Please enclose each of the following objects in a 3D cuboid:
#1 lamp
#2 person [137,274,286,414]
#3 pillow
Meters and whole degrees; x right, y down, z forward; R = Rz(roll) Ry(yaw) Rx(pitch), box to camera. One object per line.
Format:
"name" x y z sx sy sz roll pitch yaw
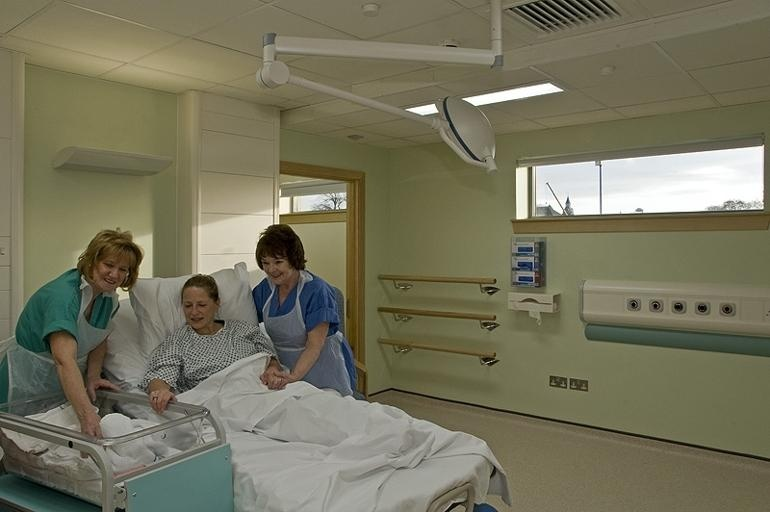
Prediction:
"lamp" -0.005 -0.664 2.326 1.066 0.555 0.401 -1 7 -2
"person" -1.119 0.502 3.243 0.942 0.738 0.449 0 -11 -45
"pillow" -1.434 0.421 3.232 0.709 0.693 0.204 5 -11 -36
